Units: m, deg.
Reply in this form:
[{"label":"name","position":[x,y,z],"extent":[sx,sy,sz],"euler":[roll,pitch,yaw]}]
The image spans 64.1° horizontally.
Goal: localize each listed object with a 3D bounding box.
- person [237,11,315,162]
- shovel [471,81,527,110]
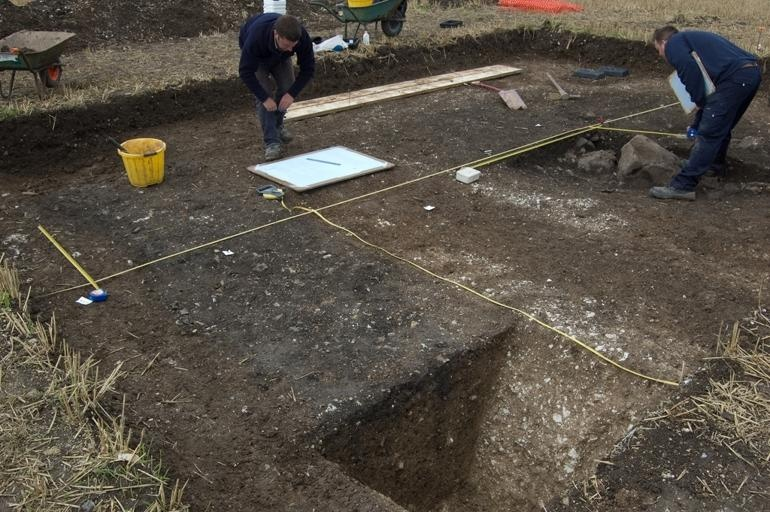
[{"label":"person","position":[-1.254,-1.995,7.205],"extent":[0.829,1.701,0.746],"euler":[-3,41,-7]},{"label":"shovel","position":[1.744,-2.441,9.461],"extent":[0.374,0.153,1.109],"euler":[-16,36,-17]}]
